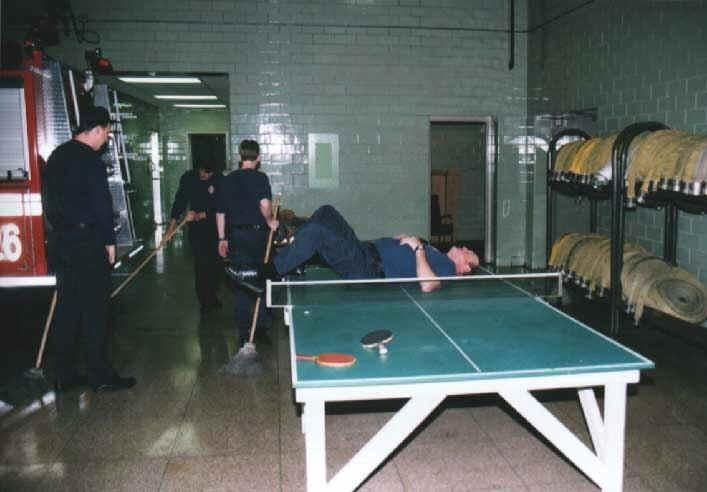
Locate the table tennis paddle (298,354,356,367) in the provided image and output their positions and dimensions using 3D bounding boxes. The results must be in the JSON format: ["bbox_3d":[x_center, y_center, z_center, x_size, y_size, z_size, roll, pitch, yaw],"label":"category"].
[{"bbox_3d":[-0.140,0.649,3.361,0.219,0.042,0.123,1,0,-3],"label":"table tennis paddle"}]

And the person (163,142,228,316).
[{"bbox_3d":[-1.770,-0.220,6.561,0.599,1.906,0.627,-1,2,-25],"label":"person"}]

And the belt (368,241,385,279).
[{"bbox_3d":[0.178,0.109,4.923,0.085,0.106,0.361,-4,57,-15],"label":"belt"}]
